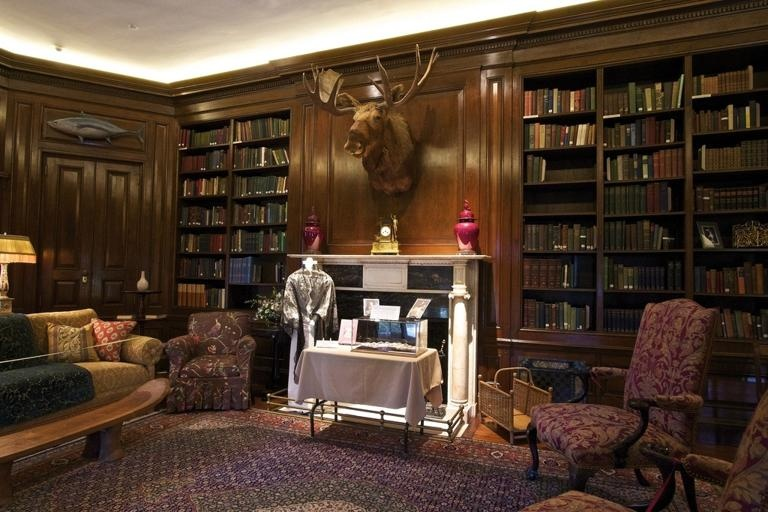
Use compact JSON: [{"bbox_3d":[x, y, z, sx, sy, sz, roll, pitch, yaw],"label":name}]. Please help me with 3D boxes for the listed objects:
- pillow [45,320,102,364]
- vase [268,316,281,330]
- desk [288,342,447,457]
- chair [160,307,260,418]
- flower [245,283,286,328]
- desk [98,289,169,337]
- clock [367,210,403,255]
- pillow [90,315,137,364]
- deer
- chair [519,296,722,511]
[{"bbox_3d":[-3.497,0.977,5.946,0.461,0.451,0.162,1,-29,-29],"label":"pillow"},{"bbox_3d":[-1.433,0.871,6.970,0.192,0.180,0.103,11,36,-21],"label":"vase"},{"bbox_3d":[-0.179,1.440,5.648,1.466,0.836,0.756,1,1,20],"label":"desk"},{"bbox_3d":[-2.157,1.285,6.664,1.187,1.155,1.318,-4,-6,37],"label":"chair"},{"bbox_3d":[-1.520,0.741,7.065,0.590,0.426,0.592,-4,26,-19],"label":"flower"},{"bbox_3d":[-3.547,0.919,7.578,0.798,0.717,0.749,-5,-8,36],"label":"desk"},{"bbox_3d":[0.027,-0.268,6.641,0.344,0.465,0.447,1,11,2],"label":"clock"},{"bbox_3d":[-3.131,0.981,6.123,0.494,0.395,0.227,5,6,11],"label":"pillow"},{"bbox_3d":[-0.098,-1.566,6.461,1.866,1.549,1.008,2,1,25],"label":"deer"},{"bbox_3d":[2.051,1.279,4.732,1.296,1.719,1.256,-2,0,-3],"label":"chair"}]
